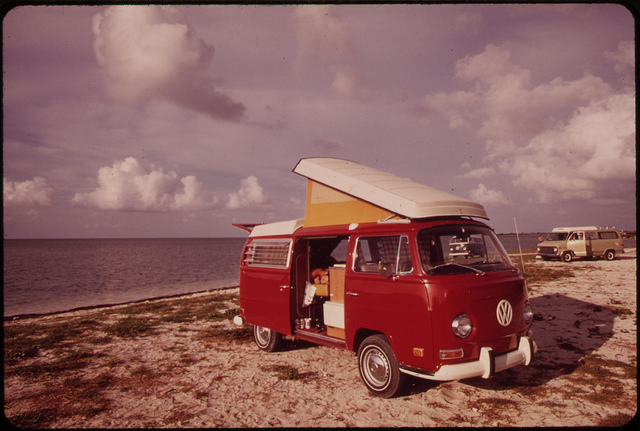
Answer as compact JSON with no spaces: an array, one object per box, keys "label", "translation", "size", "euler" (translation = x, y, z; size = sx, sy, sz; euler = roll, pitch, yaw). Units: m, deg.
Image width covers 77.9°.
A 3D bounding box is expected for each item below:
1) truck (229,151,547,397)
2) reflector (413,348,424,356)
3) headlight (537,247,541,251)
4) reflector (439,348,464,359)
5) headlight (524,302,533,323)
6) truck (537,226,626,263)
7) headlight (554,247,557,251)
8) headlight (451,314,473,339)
[{"label":"truck","translation":[1.594,1.408,10.868],"size":[4.412,5.428,9.061],"euler":[1,-4,-42]},{"label":"reflector","translation":[2.004,2.757,8.059],"size":[0.243,0.165,0.137],"euler":[-1,-2,40]},{"label":"headlight","translation":[15.402,2.335,27.967],"size":[0.129,0.355,0.706],"euler":[-1,4,21]},{"label":"reflector","translation":[2.607,2.757,7.899],"size":[0.298,0.116,0.228],"euler":[-4,-4,7]},{"label":"headlight","translation":[4.550,2.100,8.676],"size":[0.099,0.421,0.338],"euler":[2,6,43]},{"label":"truck","translation":[17.436,1.950,26.395],"size":[5.108,2.362,2.870],"euler":[1,-5,-7]},{"label":"headlight","translation":[15.739,2.236,26.558],"size":[0.059,0.224,0.238],"euler":[10,6,-10]},{"label":"headlight","translation":[2.812,2.224,7.937],"size":[0.504,0.507,0.191],"euler":[0,0,-10]}]
